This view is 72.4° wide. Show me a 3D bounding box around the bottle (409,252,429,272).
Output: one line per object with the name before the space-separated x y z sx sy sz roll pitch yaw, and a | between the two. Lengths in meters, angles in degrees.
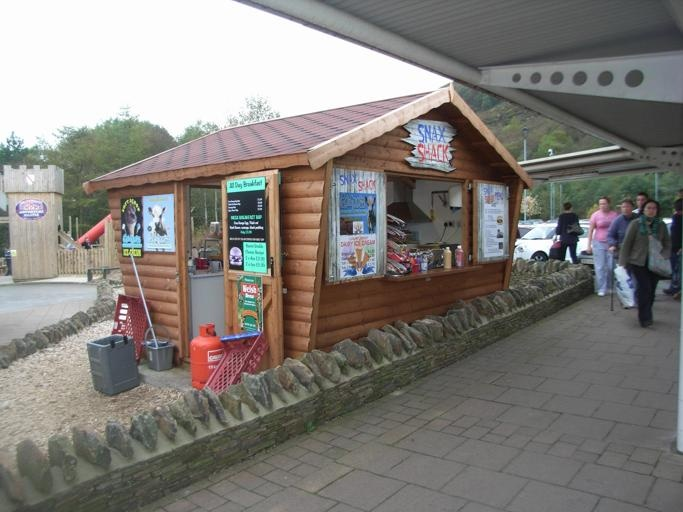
bottle | 1.205 0.097 7.365 0.158 0.277 0.305 -10 -10 44

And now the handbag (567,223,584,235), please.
handbag | 6.039 -0.697 11.974 0.369 0.204 0.260 -6 2 -41

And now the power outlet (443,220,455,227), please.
power outlet | 2.447 -0.738 10.628 0.244 0.120 0.158 1 5 38

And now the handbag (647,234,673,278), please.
handbag | 5.598 -0.010 8.191 0.567 0.695 0.206 26 -30 -31

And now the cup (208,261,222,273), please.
cup | -2.190 0.180 7.995 0.180 0.196 0.234 0 -2 37

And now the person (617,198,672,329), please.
person | 5.501 0.165 8.438 0.772 2.343 0.722 3 9 34

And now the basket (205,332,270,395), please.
basket | -1.316 1.327 5.971 0.292 0.834 0.586 9 -7 13

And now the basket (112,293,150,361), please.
basket | -3.568 1.119 7.929 0.832 1.102 0.277 3 8 0

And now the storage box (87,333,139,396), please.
storage box | -3.231 1.524 6.614 0.438 0.688 0.521 0 7 34
